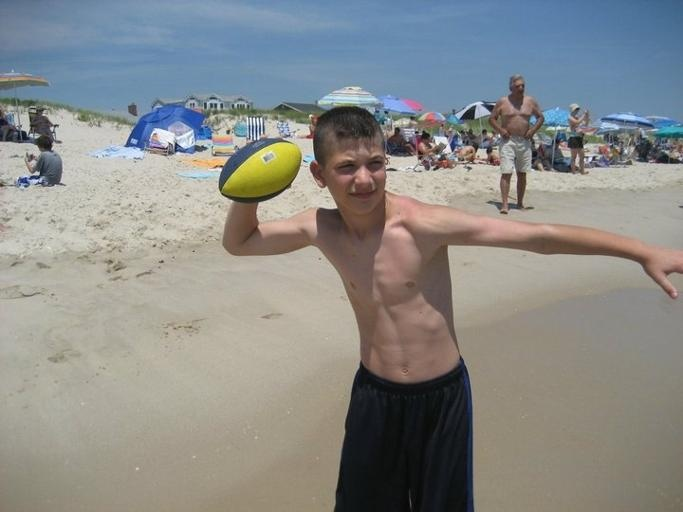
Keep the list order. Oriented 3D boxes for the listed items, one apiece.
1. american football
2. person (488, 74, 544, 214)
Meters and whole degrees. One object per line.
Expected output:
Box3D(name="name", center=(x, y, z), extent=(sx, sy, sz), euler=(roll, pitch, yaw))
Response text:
Box3D(name="american football", center=(-0.447, -0.479, 3.051), extent=(0.457, 0.303, 0.275), euler=(-34, 35, -16))
Box3D(name="person", center=(2.811, -1.800, 8.607), extent=(0.756, 2.031, 0.577), euler=(-2, 11, 2))
